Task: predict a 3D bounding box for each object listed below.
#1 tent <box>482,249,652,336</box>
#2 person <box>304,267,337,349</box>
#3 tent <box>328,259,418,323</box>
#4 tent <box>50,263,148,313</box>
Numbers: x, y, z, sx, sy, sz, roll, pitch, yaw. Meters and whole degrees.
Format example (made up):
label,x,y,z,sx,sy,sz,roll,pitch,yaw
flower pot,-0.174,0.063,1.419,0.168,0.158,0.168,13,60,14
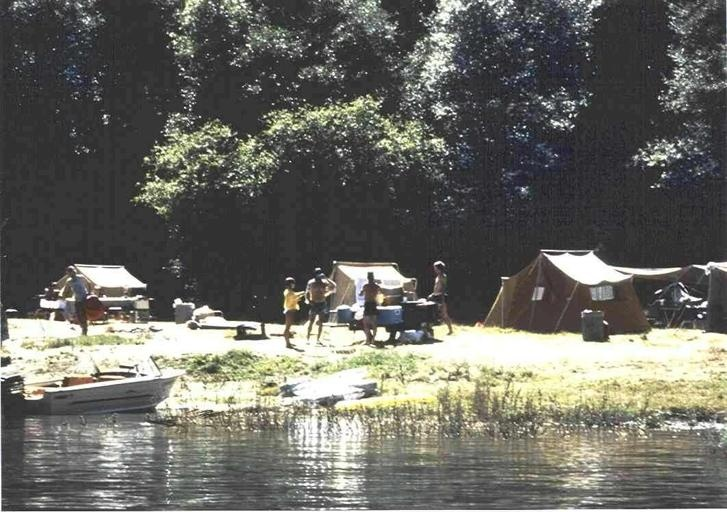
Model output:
label,x,y,z,sx,sy,sz,roll,pitch,yaw
tent,7.102,1.156,53.585,5.687,2.317,5.406,1,4,11
person,-1.309,1.582,49.568,1.012,2.243,0.694,2,0,15
tent,0.505,1.333,53.131,2.736,2.065,2.421,-3,3,-1
tent,-9.244,1.261,56.356,2.941,1.757,2.958,3,3,31
